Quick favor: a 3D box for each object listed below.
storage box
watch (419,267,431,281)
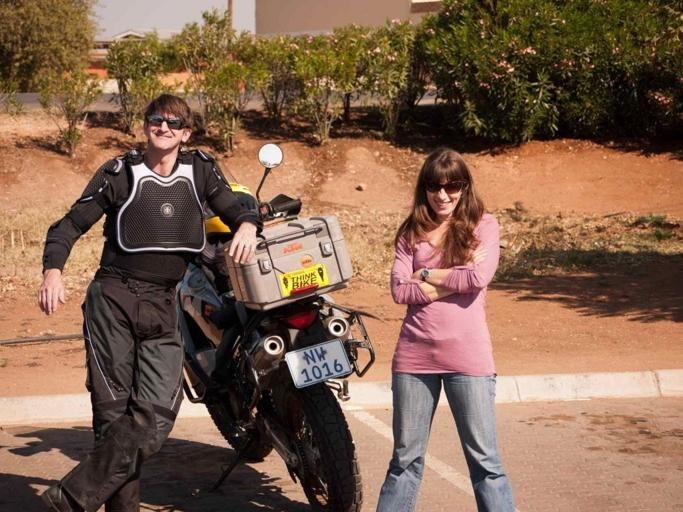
[{"bbox_3d":[-0.415,0.077,5.803,0.884,0.551,0.657,-17,3,-21],"label":"storage box"},{"bbox_3d":[0.561,0.123,5.102,0.055,0.077,0.083,18,-24,14],"label":"watch"}]
